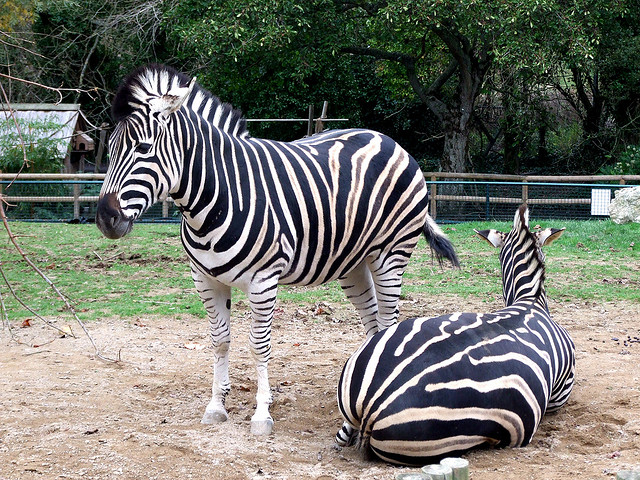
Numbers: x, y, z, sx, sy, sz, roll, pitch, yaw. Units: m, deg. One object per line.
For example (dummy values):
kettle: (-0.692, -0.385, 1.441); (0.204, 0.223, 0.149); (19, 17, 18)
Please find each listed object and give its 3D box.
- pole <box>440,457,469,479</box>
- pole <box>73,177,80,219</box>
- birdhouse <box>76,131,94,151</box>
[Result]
pole: (1.542, 2.562, 10.808); (0.243, 0.177, 0.241); (-1, 3, 0)
pole: (-5.622, -0.889, 22.109); (0.142, 0.801, 0.673); (-1, 5, -14)
birdhouse: (-6.349, -2.628, 25.835); (0.446, 0.437, 0.949); (-1, 5, -14)
